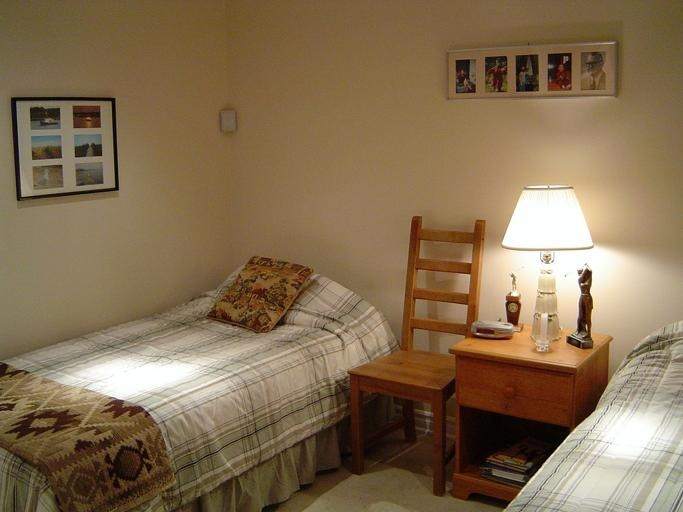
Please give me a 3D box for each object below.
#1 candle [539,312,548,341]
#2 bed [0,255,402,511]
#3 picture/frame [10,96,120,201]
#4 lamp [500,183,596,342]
[{"bbox_3d":[1.032,0.366,2.550,0.040,0.167,0.112,1,6,19],"label":"candle"},{"bbox_3d":[-0.660,0.670,2.580,1.115,0.533,1.497,11,15,33],"label":"bed"},{"bbox_3d":[-1.727,-0.657,3.052,0.041,0.616,0.616,12,17,43],"label":"picture/frame"},{"bbox_3d":[1.092,0.031,2.694,0.440,0.796,0.383,-2,12,12],"label":"lamp"}]
